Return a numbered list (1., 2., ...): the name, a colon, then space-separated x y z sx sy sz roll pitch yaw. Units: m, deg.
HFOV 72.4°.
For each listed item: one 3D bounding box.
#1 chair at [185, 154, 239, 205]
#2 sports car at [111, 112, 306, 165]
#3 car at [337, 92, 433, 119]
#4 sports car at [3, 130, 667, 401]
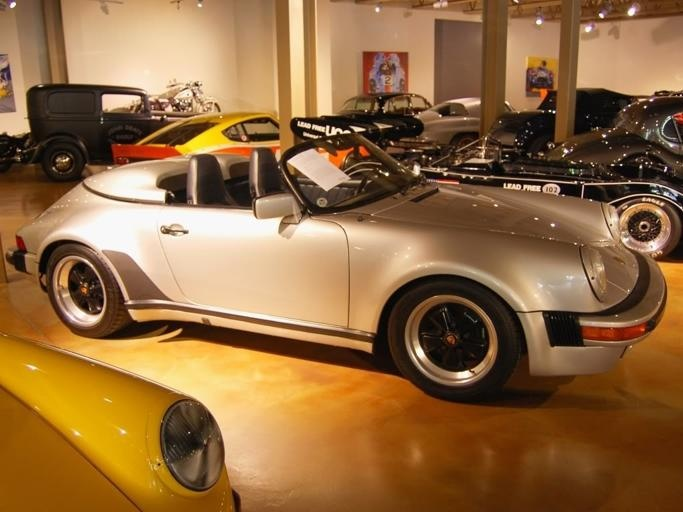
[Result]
1. chair: -0.995 -0.560 3.557 0.411 0.428 0.442 7 12 31
2. sports car: -2.288 -2.168 8.522 3.392 0.968 1.992 -12 18 -26
3. car: 1.408 -4.209 12.927 2.499 0.734 1.239 -10 20 -27
4. sports car: -0.290 -0.137 3.637 4.867 1.554 1.481 4 19 18
